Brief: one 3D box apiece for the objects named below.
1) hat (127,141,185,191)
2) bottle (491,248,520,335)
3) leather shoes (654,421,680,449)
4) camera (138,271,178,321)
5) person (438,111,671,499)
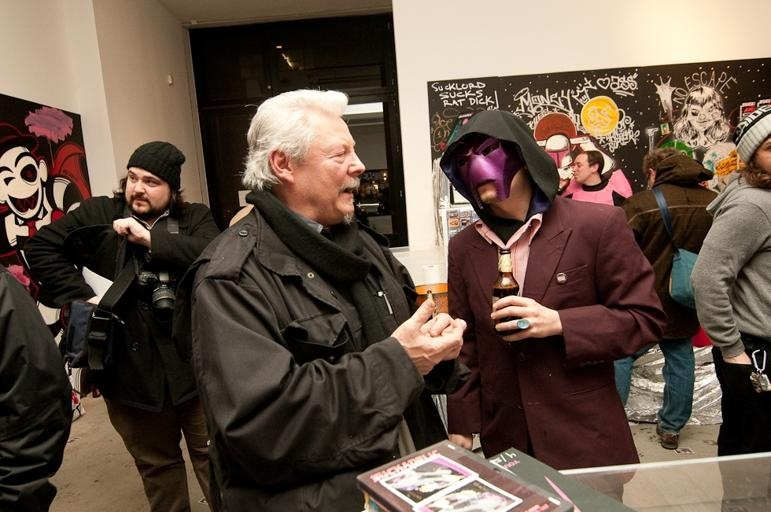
[{"bbox_3d":[-1.389,-0.542,3.517,0.344,0.283,0.263,3,1,-38],"label":"hat"},{"bbox_3d":[0.549,0.147,2.595,0.128,0.389,0.233,-5,10,11],"label":"bottle"},{"bbox_3d":[2.009,1.304,4.064,0.084,0.104,0.247,-1,-1,5],"label":"leather shoes"},{"bbox_3d":[-1.291,0.214,3.166,0.194,0.270,0.167,-10,10,-14],"label":"camera"},{"bbox_3d":[0.733,0.141,2.607,0.975,1.662,0.446,-3,10,22],"label":"person"}]
